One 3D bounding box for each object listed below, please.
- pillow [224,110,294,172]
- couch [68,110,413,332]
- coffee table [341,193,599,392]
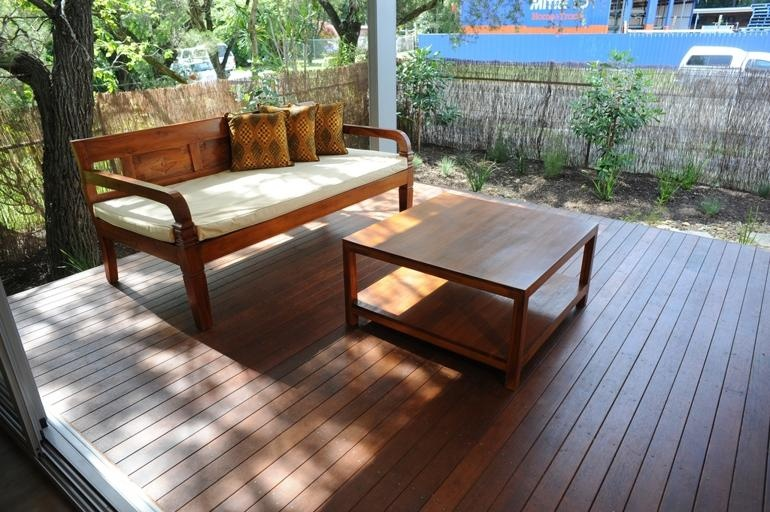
[{"bbox_3d":[-1.073,-0.990,4.139,0.515,0.445,0.272,-8,41,-18],"label":"pillow"},{"bbox_3d":[-1.051,-0.513,3.952,1.274,1.135,2.281,20,33,37],"label":"couch"},{"bbox_3d":[0.716,0.252,3.283,1.217,0.655,1.329,18,34,31],"label":"coffee table"}]
